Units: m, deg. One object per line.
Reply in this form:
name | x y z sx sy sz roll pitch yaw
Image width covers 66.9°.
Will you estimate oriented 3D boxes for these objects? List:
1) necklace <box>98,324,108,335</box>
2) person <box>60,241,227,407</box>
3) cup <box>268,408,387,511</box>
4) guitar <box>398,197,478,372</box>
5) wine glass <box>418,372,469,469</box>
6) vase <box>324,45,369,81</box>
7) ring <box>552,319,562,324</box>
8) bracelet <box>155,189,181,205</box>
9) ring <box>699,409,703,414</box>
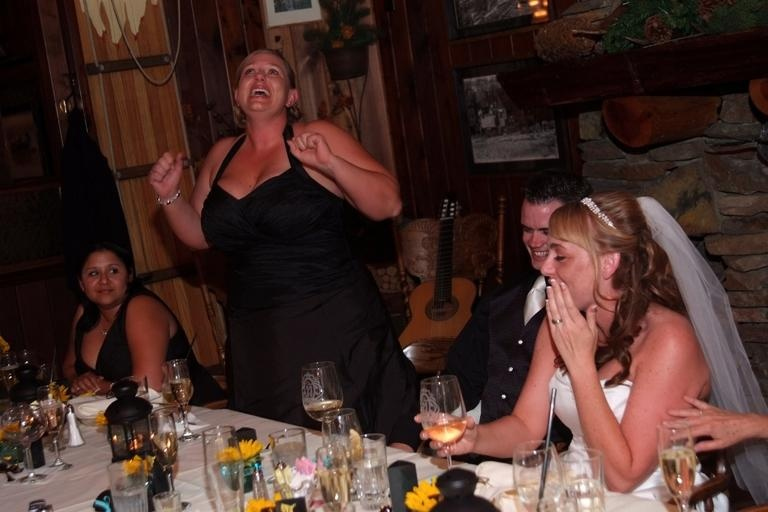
necklace | -1.637 0.427 3.397 0.047 0.064 0.023 -1 -15 15
person | -1.448 0.435 3.604 0.924 1.105 0.943 -9 -7 -37
cup | -0.150 0.593 1.760 0.323 0.321 0.212 -6 -1 34
guitar | 0.354 0.276 4.179 0.537 1.226 0.177 -1 -18 17
wine glass | 0.188 0.502 1.866 0.136 0.209 0.118 -8 3 21
vase | -0.315 -1.635 5.024 0.315 0.199 0.305 -3 -2 -40
ring | 0.600 0.231 2.029 0.035 0.014 0.035 -2 -5 0
bracelet | -1.070 -0.285 2.899 0.131 0.129 0.035 0 43 -22
ring | 1.035 0.506 1.904 0.011 0.011 0.003 -1 -11 3
